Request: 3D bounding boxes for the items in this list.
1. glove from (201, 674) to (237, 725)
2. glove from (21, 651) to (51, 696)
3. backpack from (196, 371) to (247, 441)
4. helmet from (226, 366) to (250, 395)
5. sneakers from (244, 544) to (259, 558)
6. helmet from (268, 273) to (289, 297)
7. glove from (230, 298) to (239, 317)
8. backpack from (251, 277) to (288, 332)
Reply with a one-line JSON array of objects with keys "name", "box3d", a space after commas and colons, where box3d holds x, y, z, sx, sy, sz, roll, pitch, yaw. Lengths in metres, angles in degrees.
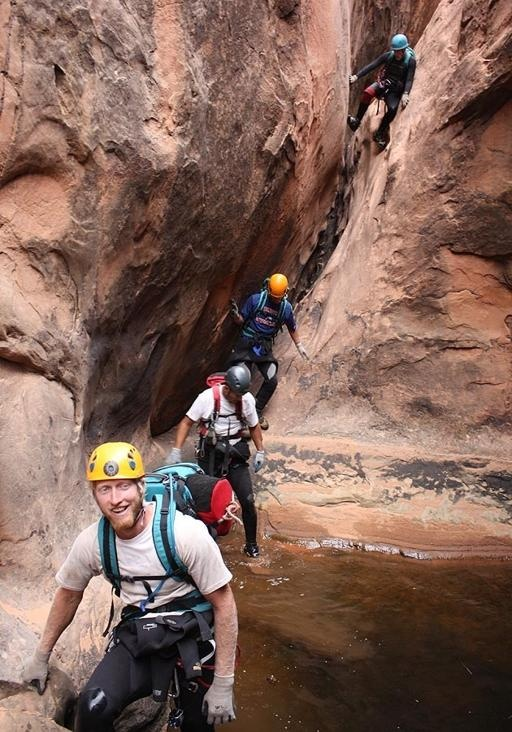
[{"name": "glove", "box3d": [-0.126, 1.111, 1.918, 0.101, 0.210, 0.073, -2, 6, -8]}, {"name": "glove", "box3d": [-0.789, 1.107, 2.083, 0.118, 0.149, 0.045, 14, 8, -1]}, {"name": "backpack", "box3d": [-0.280, 0.297, 4.244, 0.341, 0.458, 0.470, 1, 5, -2]}, {"name": "helmet", "box3d": [-0.128, 0.079, 3.964, 0.150, 0.196, 0.173, -5, -12, -12]}, {"name": "sneakers", "box3d": [-0.031, 1.386, 4.325, 0.143, 0.094, 0.048, 4, 2, 19]}, {"name": "helmet", "box3d": [0.238, -0.774, 5.397, 0.175, 0.220, 0.204, 8, -19, -17]}, {"name": "glove", "box3d": [-0.213, -0.559, 5.555, 0.078, 0.167, 0.217, 0, 5, 10]}, {"name": "backpack", "box3d": [0.183, -0.643, 5.442, 0.251, 0.378, 0.353, 12, 13, 3]}]
